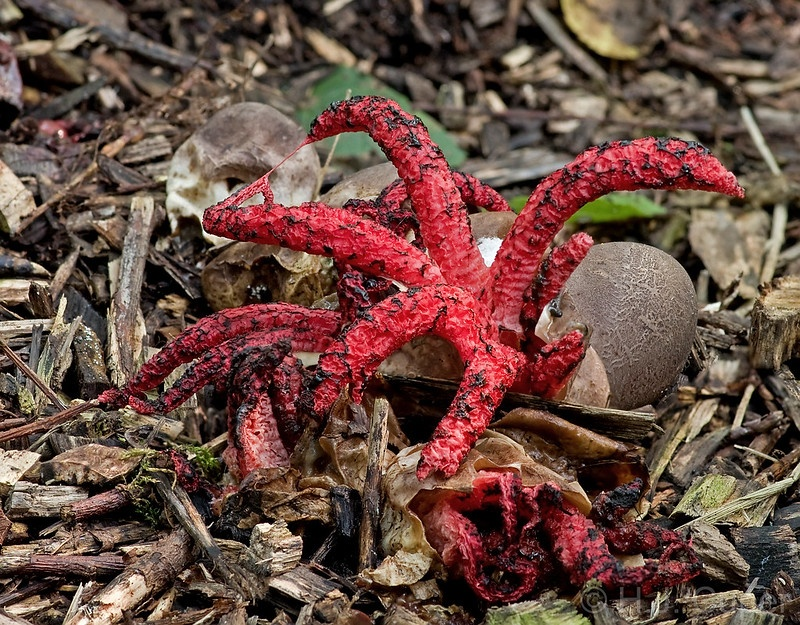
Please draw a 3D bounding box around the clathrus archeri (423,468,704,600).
[{"bbox_3d":[0.661,0.926,3.950,1.108,0.352,0.480,-2,57,-3],"label":"clathrus archeri"}]

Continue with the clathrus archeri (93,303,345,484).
[{"bbox_3d":[-0.723,0.291,4.134,0.693,0.338,0.959,39,53,17],"label":"clathrus archeri"}]

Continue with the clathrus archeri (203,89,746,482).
[{"bbox_3d":[0.152,-0.093,4.110,2.120,0.979,1.512,7,57,3],"label":"clathrus archeri"}]

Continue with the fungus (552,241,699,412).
[{"bbox_3d":[1.001,-0.025,4.620,0.665,0.774,0.804,-6,15,-26],"label":"fungus"}]
